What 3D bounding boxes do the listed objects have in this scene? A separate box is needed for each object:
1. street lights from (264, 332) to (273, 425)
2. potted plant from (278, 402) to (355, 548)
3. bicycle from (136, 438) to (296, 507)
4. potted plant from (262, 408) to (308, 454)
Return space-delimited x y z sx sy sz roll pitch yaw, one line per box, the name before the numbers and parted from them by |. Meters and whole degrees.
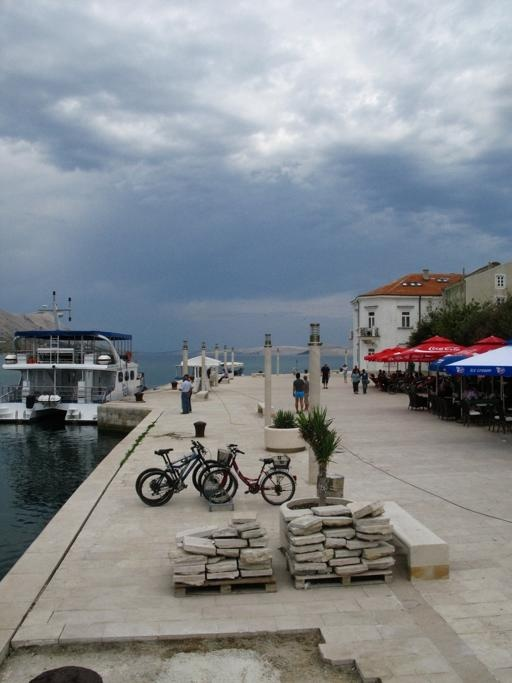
street lights | 0.306 0.962 16.800 0.323 2.082 0.267 -10 -23 25
potted plant | 0.859 1.662 8.053 0.714 1.433 0.781 23 -34 -34
bicycle | -0.608 2.093 9.923 2.411 0.983 1.437 -1 -1 14
potted plant | 0.787 2.216 14.556 1.304 1.125 1.250 14 -7 6
